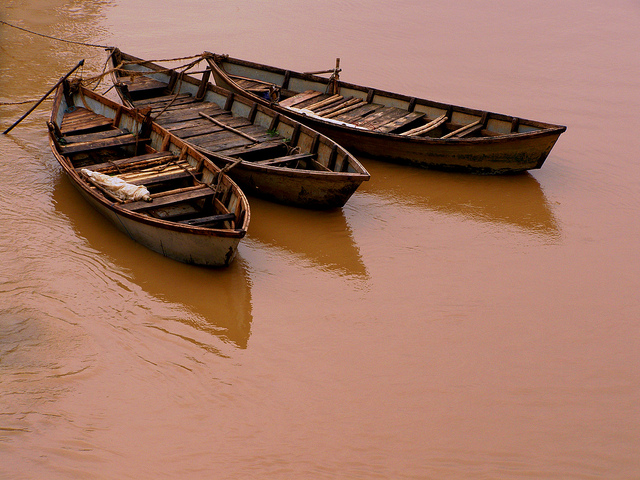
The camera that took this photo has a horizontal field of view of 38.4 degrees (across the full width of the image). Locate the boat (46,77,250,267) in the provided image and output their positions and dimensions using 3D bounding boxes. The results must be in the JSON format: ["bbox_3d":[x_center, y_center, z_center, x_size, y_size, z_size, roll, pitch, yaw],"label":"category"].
[{"bbox_3d":[-4.995,-1.869,24.818,3.158,1.512,7.497,-32,61,-27],"label":"boat"}]

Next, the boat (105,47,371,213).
[{"bbox_3d":[-3.528,-3.345,27.912,11.684,1.881,3.285,25,49,26],"label":"boat"}]
